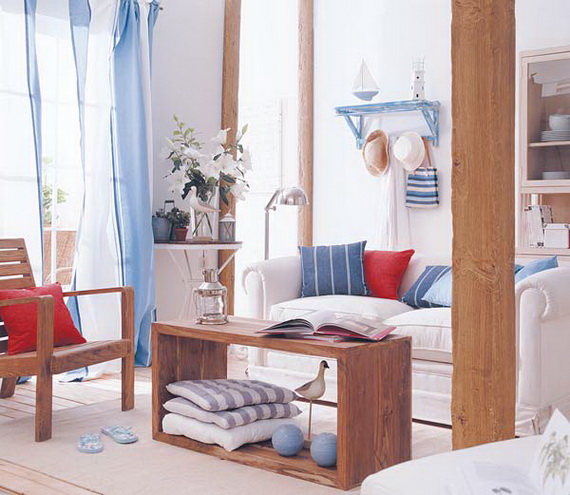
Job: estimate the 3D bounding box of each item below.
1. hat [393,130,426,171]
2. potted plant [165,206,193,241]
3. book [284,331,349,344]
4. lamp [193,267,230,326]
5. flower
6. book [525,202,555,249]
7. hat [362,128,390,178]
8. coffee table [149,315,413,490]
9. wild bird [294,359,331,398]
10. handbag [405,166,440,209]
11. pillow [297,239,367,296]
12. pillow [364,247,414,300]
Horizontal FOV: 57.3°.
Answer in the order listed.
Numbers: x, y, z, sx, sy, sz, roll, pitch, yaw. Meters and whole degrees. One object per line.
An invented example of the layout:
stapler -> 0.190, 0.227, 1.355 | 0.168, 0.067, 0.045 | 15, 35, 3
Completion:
hat -> 0.986, -0.767, 4.106 | 0.097, 0.305, 0.259 | -2, -6, -40
potted plant -> -0.760, -0.185, 3.784 | 0.196, 0.266, 0.234 | -4, -7, 26
book -> 0.106, 0.323, 1.900 | 0.251, 0.027, 0.103 | -1, 0, 29
lamp -> -0.320, 0.204, 2.291 | 0.134, 0.231, 0.131 | -3, 3, -34
flower -> -0.548, -0.429, 3.574 | 0.496, 0.797, 0.615 | 0, 11, -20
book -> 1.754, -0.162, 3.615 | 0.178, 0.247, 0.250 | -1, 0, 26
hat -> 0.757, -0.788, 4.303 | 0.113, 0.342, 0.270 | -11, 13, -30
coffee table -> -0.042, 0.564, 2.115 | 1.021, 0.530, 0.411 | -1, 0, 34
wild bird -> 0.103, 0.512, 2.024 | 0.146, 0.186, 0.096 | 3, 14, 20
handbag -> 1.109, -0.493, 4.173 | 0.306, 0.387, 0.086 | -1, -4, 25
pillow -> 0.317, 0.144, 3.451 | 0.321, 0.295, 0.115 | -2, -19, 6
pillow -> 0.637, 0.173, 3.511 | 0.183, 0.335, 0.407 | -1, 0, -33
